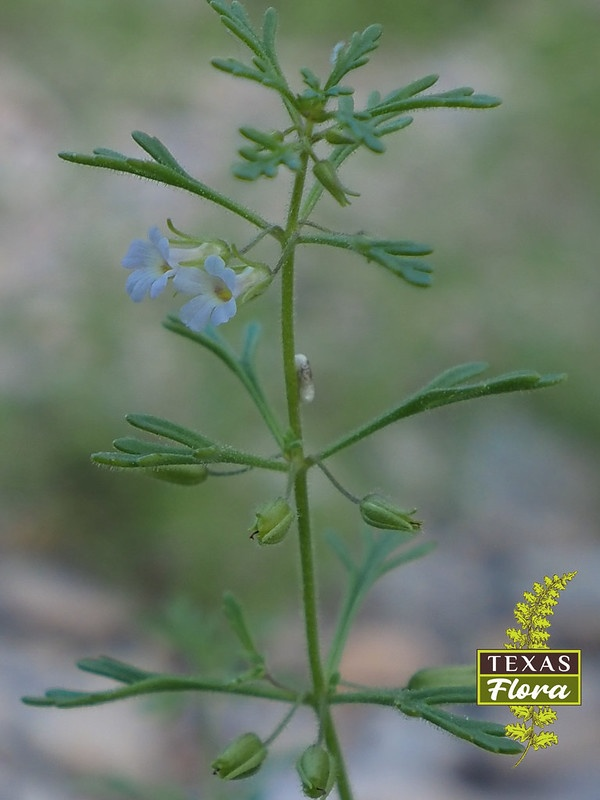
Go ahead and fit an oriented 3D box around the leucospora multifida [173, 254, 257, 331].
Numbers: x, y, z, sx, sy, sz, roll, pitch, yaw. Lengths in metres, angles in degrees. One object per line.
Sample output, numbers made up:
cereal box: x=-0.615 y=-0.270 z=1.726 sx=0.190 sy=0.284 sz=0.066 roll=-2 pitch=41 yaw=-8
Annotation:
leucospora multifida: x=-0.189 y=-0.258 z=2.210 sx=0.160 sy=0.064 sz=0.161 roll=-25 pitch=7 yaw=-26
